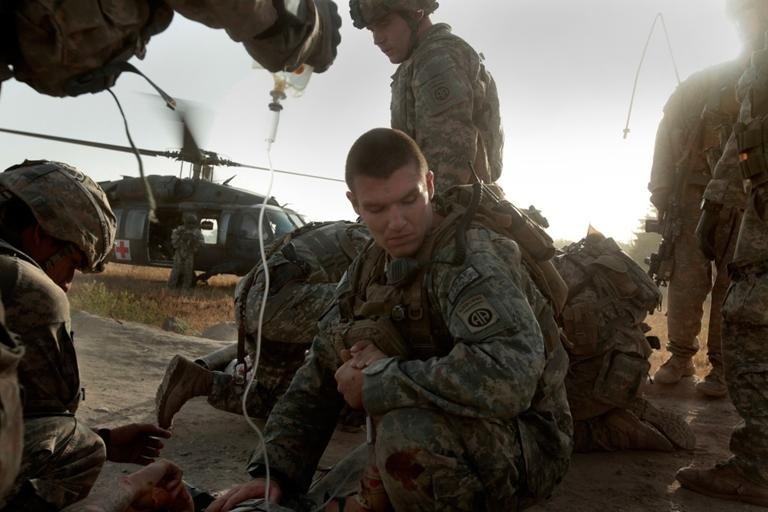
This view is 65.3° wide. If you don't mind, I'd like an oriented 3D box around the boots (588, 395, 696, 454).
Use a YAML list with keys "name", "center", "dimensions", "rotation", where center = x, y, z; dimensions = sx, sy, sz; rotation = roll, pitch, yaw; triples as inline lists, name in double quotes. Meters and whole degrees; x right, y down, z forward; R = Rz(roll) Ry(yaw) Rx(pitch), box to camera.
- name: "boots"
  center: [1.702, 1.202, 4.310]
  dimensions: [0.925, 0.407, 0.320]
  rotation: [-4, -8, 9]

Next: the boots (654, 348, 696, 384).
- name: "boots"
  center: [2.654, 0.975, 5.473]
  dimensions: [0.425, 0.303, 0.155]
  rotation: [-6, -1, -19]
